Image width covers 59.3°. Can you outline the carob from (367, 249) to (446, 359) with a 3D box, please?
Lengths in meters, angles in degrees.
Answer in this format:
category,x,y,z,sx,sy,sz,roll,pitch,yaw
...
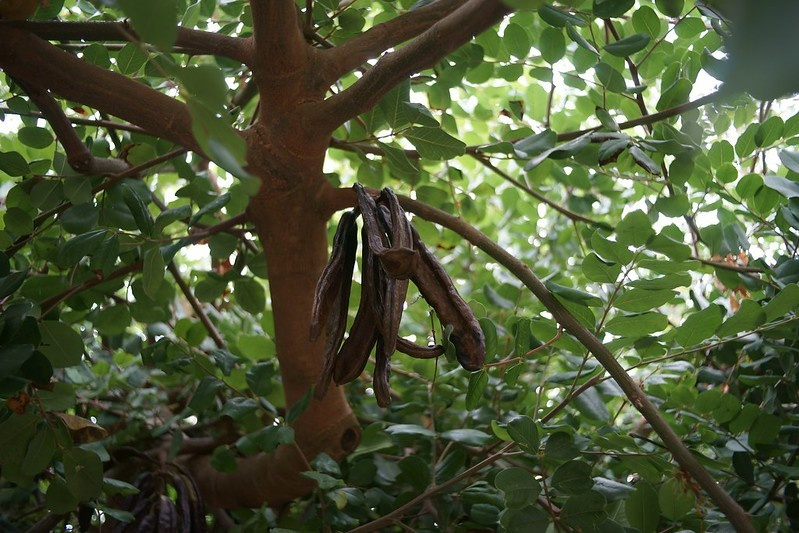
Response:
category,x,y,z,sx,sy,sz,roll,pitch,yaw
carob,0.009,0.068,1.333,0.156,0.193,0.064,-9,-1,15

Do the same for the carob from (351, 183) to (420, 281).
category,x,y,z,sx,sy,sz,roll,pitch,yaw
carob,-0.031,-0.070,1.299,0.054,0.216,0.073,-4,-48,-12

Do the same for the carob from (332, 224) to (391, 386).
category,x,y,z,sx,sy,sz,roll,pitch,yaw
carob,-0.074,0.077,1.346,0.088,0.311,0.054,10,-2,-13

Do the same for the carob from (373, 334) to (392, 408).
category,x,y,z,sx,sy,sz,roll,pitch,yaw
carob,-0.026,0.198,1.309,0.033,0.128,0.038,-4,-8,7

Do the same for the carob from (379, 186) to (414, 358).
category,x,y,z,sx,sy,sz,roll,pitch,yaw
carob,-0.005,0.003,1.292,0.057,0.300,0.046,22,-41,-35

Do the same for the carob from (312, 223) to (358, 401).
category,x,y,z,sx,sy,sz,roll,pitch,yaw
carob,-0.129,0.085,1.377,0.064,0.056,0.422,-21,-46,-43
